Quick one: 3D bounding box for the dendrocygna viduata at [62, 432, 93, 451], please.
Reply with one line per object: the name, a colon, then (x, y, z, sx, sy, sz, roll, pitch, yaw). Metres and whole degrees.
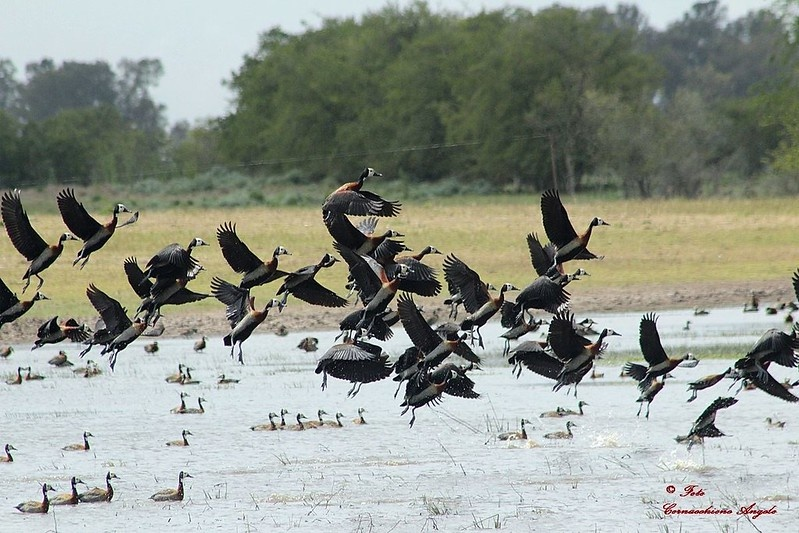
dendrocygna viduata: (-9.144, 4.945, 50.445, 0.793, 0.516, 0.610, -2, 3, -3)

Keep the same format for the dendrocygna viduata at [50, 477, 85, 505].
dendrocygna viduata: (-9.028, 6.089, 48.359, 0.734, 0.747, 0.816, -2, 3, 8)
